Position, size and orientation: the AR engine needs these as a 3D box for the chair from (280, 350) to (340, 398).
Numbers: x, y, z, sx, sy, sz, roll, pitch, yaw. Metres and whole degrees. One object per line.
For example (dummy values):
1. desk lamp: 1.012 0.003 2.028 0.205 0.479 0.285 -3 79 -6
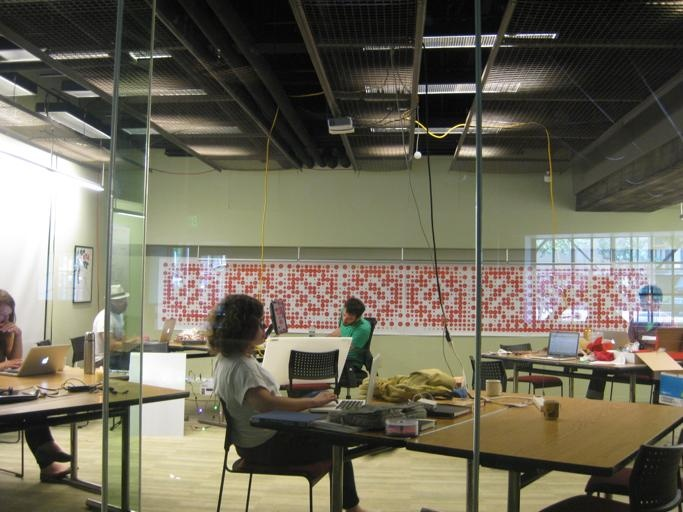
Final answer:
1. chair: -0.180 0.638 3.276 0.223 0.361 0.253 1 -3 -9

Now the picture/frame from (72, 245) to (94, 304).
1. picture/frame: -2.253 0.167 5.196 0.182 0.484 0.012 3 2 9

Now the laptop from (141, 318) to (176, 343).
1. laptop: -0.978 0.409 3.233 0.136 0.124 0.187 18 -24 -27

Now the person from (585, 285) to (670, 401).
1. person: 1.810 0.561 3.798 0.339 0.841 0.541 5 7 8

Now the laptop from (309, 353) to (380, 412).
1. laptop: 0.021 0.643 2.931 0.257 0.234 0.326 1 -7 17

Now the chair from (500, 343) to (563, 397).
1. chair: 1.536 0.922 4.856 0.249 0.292 0.422 -18 -2 1

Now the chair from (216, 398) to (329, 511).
1. chair: -0.326 1.085 3.479 0.662 0.919 0.505 -1 -8 10

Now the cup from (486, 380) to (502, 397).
1. cup: 0.818 0.725 3.267 0.092 0.071 0.071 0 -6 9

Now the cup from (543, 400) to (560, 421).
1. cup: 1.003 0.749 2.893 0.090 0.075 0.073 -3 -5 13

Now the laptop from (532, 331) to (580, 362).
1. laptop: 1.310 0.536 3.639 0.280 0.204 0.237 -1 -11 30
